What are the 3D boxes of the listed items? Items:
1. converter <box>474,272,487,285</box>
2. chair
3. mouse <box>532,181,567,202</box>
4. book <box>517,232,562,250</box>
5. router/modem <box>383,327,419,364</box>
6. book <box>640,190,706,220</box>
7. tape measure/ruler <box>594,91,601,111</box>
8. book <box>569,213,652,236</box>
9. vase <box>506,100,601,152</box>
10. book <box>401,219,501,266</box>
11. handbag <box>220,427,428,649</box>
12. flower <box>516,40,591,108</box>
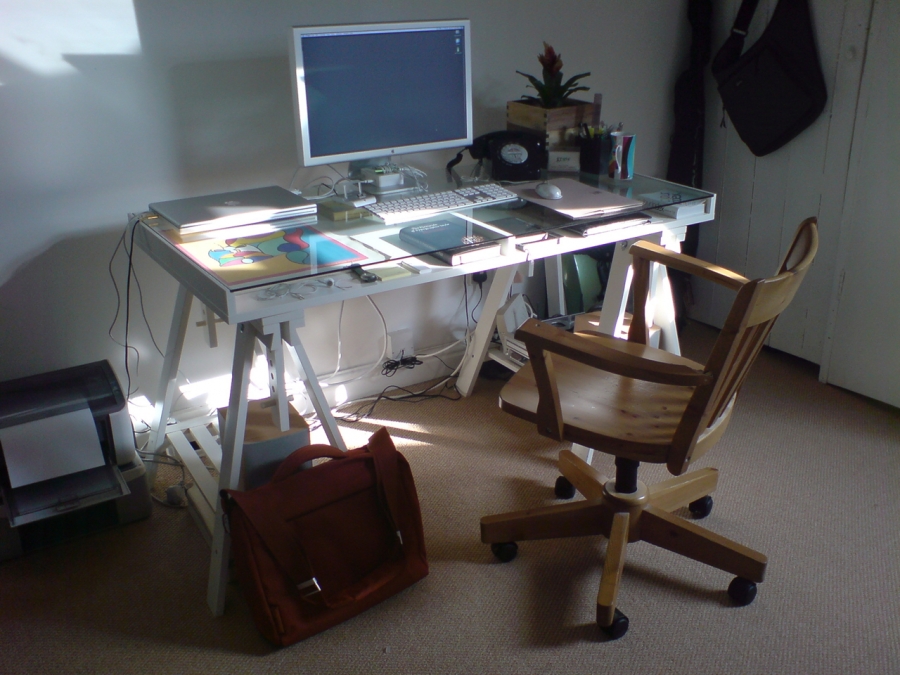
[{"bbox_3d":[0.137,-0.258,3.109,0.050,0.047,0.012,-7,29,-24],"label":"converter"},{"bbox_3d":[0.550,0.209,2.108,0.823,1.074,0.810,-21,29,-38],"label":"chair"},{"bbox_3d":[0.335,-0.480,2.336,0.055,0.031,0.091,-19,38,-26],"label":"mouse"},{"bbox_3d":[0.276,-0.290,2.162,0.068,0.022,0.073,-10,24,-6],"label":"book"},{"bbox_3d":[-0.212,0.034,3.011,0.123,0.118,0.041,-12,20,-35],"label":"router/modem"},{"bbox_3d":[0.766,-0.450,2.388,0.137,0.034,0.140,-20,31,-31],"label":"book"},{"bbox_3d":[0.547,-0.869,2.633,0.022,0.064,0.165,4,26,16],"label":"tape measure/ruler"},{"bbox_3d":[0.493,-0.353,2.243,0.186,0.029,0.258,-9,9,-16],"label":"book"},{"bbox_3d":[0.394,-0.780,2.684,0.230,0.148,0.237,-17,37,-29],"label":"vase"},{"bbox_3d":[0.015,-0.288,2.108,0.187,0.044,0.176,-17,32,-38],"label":"book"},{"bbox_3d":[-0.346,0.569,2.072,0.547,0.495,0.277,-15,8,-31],"label":"handbag"},{"bbox_3d":[0.394,-0.957,2.648,0.187,0.187,0.208,-4,10,-19],"label":"flower"}]
